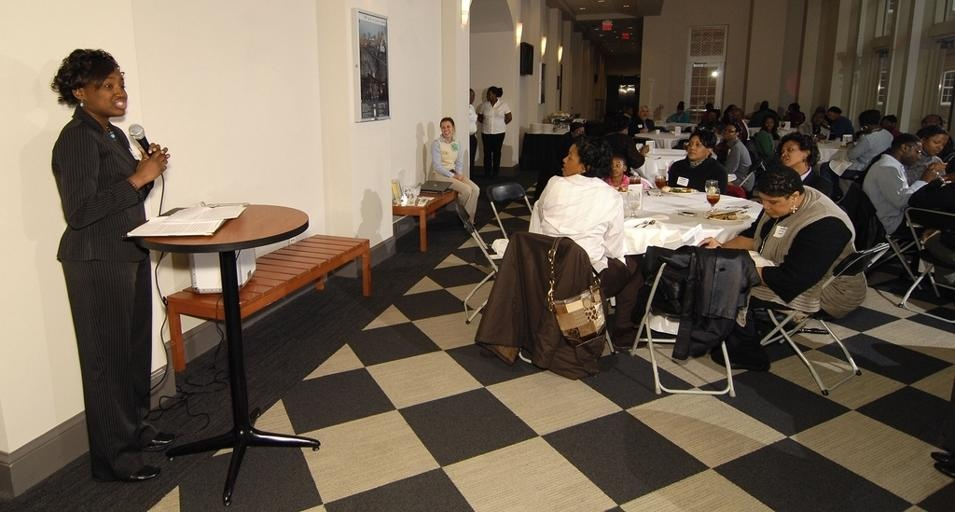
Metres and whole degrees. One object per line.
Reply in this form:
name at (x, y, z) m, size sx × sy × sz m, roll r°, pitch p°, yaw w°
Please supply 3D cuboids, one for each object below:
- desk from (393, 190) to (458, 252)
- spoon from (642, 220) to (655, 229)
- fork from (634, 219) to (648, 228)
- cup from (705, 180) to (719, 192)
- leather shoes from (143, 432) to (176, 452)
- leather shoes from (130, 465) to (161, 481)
desk at (-0.775, -0.554, 8.330) m, size 0.474 × 0.653 × 1.081 m, roll 4°, pitch 20°, yaw 19°
spoon at (1.679, -0.320, 5.640) m, size 0.056 × 0.053 × 0.323 m, roll -1°, pitch 10°, yaw 44°
fork at (1.618, -0.317, 5.637) m, size 0.201 × 0.051 × 0.029 m, roll -26°, pitch -14°, yaw -26°
cup at (2.401, -0.719, 5.837) m, size 0.151 × 0.138 × 0.147 m, roll 0°, pitch 7°, yaw 0°
leather shoes at (-2.510, 1.468, 4.547) m, size 0.233 × 0.093 × 0.092 m, roll -11°, pitch 37°, yaw -21°
leather shoes at (-2.502, 1.643, 4.363) m, size 0.212 × 0.082 × 0.088 m, roll -16°, pitch 47°, yaw -20°
